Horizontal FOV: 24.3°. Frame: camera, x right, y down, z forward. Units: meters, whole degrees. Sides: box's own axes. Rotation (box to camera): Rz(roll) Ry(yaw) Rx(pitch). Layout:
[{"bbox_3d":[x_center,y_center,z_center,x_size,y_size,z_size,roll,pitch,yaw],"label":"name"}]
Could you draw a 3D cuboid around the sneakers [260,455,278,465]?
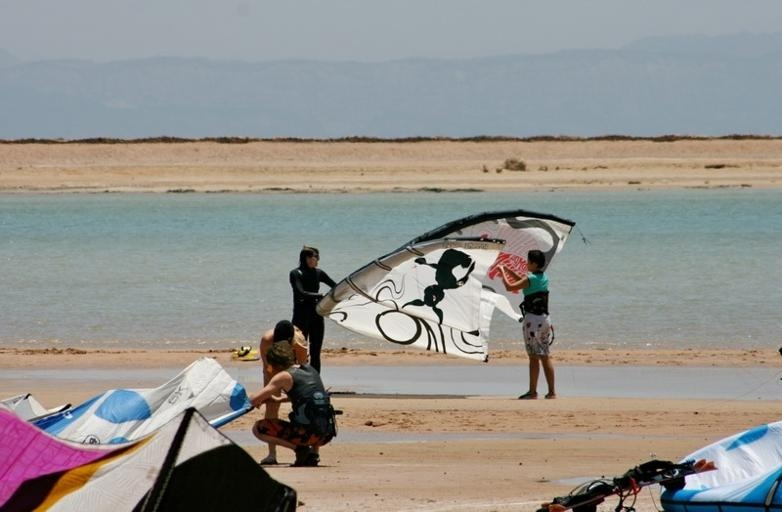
[{"bbox_3d":[-3.519,5.883,52.306,0.450,0.197,0.132,7,-39,-4],"label":"sneakers"}]
